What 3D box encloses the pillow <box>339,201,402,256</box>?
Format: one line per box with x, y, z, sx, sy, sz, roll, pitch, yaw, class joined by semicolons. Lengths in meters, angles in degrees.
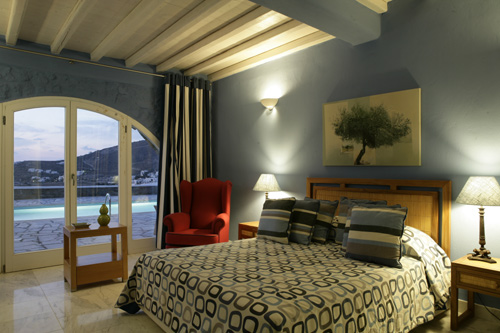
1.351;0.695;3.623;0.572;0.535;0.208;6;-30;31;pillow

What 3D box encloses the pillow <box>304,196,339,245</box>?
0.955;0.687;4.223;0.200;0.467;0.492;22;-17;-38;pillow

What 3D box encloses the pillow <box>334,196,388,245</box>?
1.284;0.633;3.778;0.543;0.573;0.236;-6;-29;46;pillow

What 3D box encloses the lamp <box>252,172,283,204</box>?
0.290;0.347;5.293;0.453;0.408;0.442;-1;-1;25;lamp

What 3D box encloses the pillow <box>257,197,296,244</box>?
0.356;0.723;4.312;0.185;0.496;0.548;33;-25;-34;pillow

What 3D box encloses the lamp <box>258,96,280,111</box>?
0.312;-1.037;5.507;0.264;0.146;0.243;0;-1;-44;lamp
